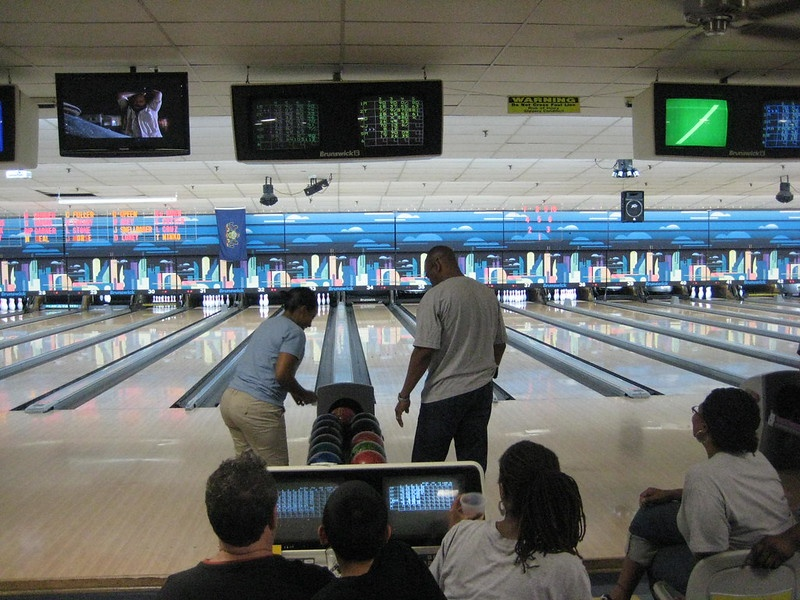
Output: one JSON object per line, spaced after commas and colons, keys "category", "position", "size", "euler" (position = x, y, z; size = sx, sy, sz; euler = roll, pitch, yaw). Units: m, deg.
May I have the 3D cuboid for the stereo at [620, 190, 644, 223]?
{"category": "stereo", "position": [3.374, -1.370, 9.364], "size": [0.265, 0.427, 0.410], "euler": [1, 6, 26]}

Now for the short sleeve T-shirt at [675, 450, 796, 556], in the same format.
{"category": "short sleeve T-shirt", "position": [1.289, 0.794, 2.477], "size": [0.388, 0.304, 0.223], "euler": [-18, 0, -12]}

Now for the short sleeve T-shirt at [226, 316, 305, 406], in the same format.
{"category": "short sleeve T-shirt", "position": [-0.717, 0.326, 3.440], "size": [0.412, 0.489, 0.241], "euler": [-2, 6, -3]}

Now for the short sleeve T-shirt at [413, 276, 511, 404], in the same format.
{"category": "short sleeve T-shirt", "position": [0.285, 0.200, 3.225], "size": [0.430, 0.600, 0.168], "euler": [-2, 6, -6]}

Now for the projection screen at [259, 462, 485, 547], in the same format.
{"category": "projection screen", "position": [-0.136, 0.793, 2.504], "size": [0.832, 0.309, 0.223], "euler": [-1, -8, 0]}
